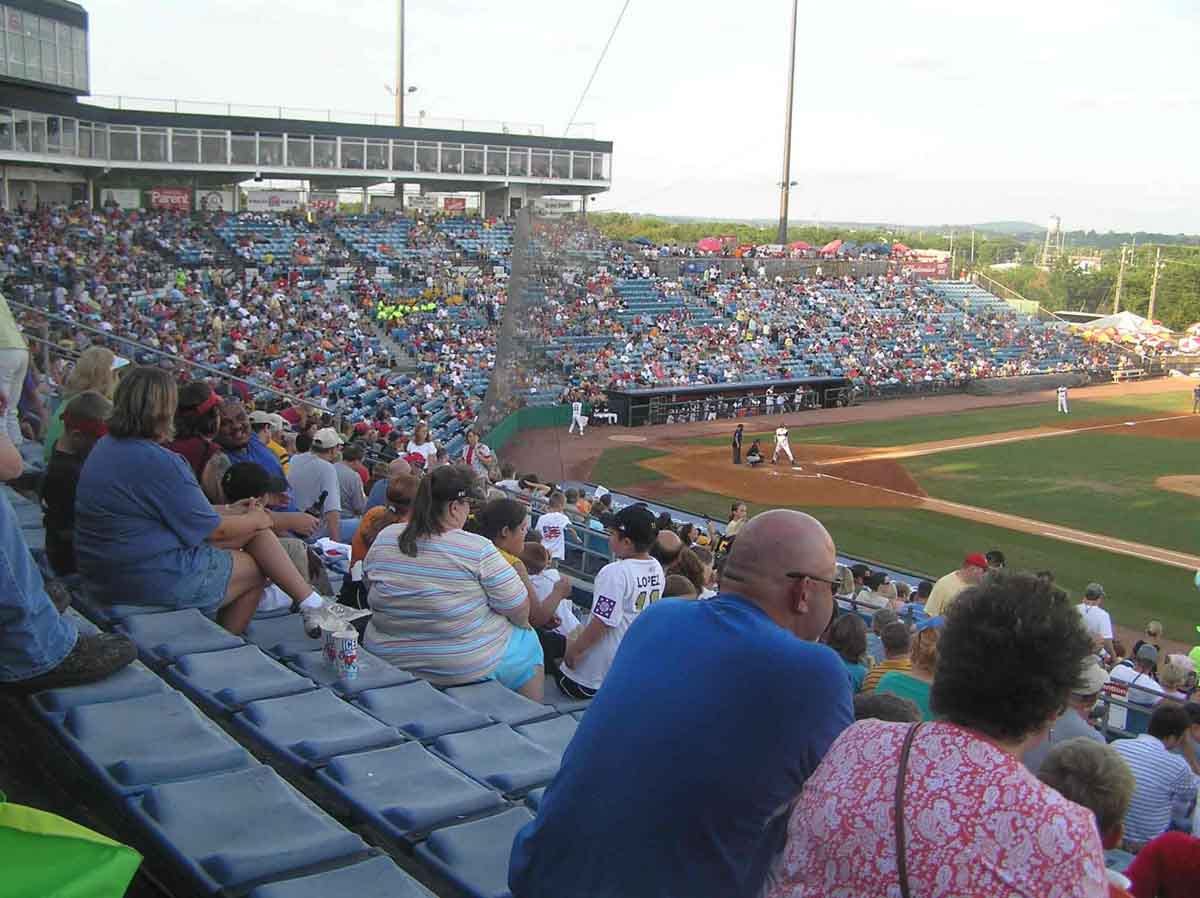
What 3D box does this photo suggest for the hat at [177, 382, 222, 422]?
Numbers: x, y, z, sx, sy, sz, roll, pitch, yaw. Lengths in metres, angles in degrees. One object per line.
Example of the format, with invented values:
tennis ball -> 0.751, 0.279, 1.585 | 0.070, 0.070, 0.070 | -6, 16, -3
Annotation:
hat -> -2.529, -0.290, 6.913 | 0.178, 0.244, 0.212 | 23, -2, 31

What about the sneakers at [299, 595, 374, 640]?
sneakers -> -1.326, 0.837, 5.497 | 0.498, 0.212, 0.168 | -3, 19, -2

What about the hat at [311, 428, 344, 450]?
hat -> -2.378, -0.077, 9.567 | 0.225, 0.123, 0.344 | 8, 13, -4

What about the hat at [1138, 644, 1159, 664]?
hat -> 5.914, 2.203, 11.720 | 0.256, 0.129, 0.375 | 0, -1, 38

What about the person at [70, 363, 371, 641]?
person -> -2.053, 0.457, 5.944 | 1.479, 1.604, 0.760 | 3, -3, -36

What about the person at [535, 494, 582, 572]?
person -> -0.522, 0.988, 11.829 | 0.448, 1.044, 0.306 | 5, 21, 3

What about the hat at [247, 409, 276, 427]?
hat -> -3.392, -0.292, 10.979 | 0.306, 0.119, 0.225 | 5, 8, 36

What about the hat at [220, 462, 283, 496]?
hat -> -2.043, 0.220, 6.391 | 0.281, 0.161, 0.191 | -18, 28, -33

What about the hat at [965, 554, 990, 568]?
hat -> 3.753, 1.114, 10.770 | 0.211, 0.099, 0.312 | 12, 6, 31
